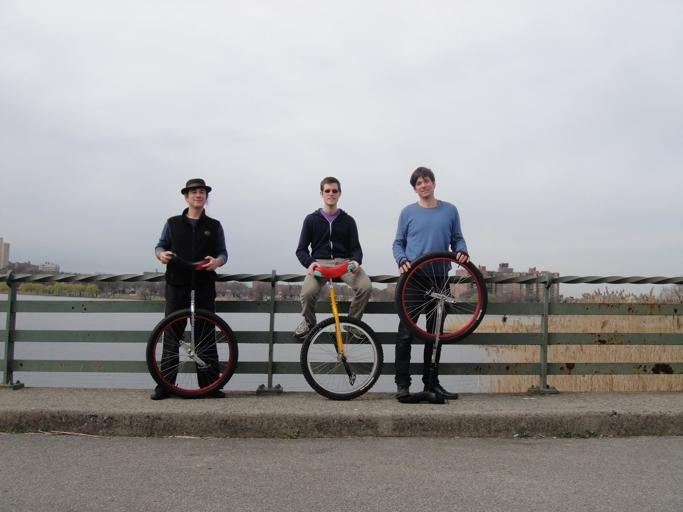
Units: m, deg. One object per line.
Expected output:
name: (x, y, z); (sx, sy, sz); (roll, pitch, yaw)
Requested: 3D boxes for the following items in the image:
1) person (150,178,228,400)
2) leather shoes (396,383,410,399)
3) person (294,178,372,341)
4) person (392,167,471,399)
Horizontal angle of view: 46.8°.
person: (-1.721, 0.311, 8.997); (0.810, 2.332, 0.780); (0, 5, -11)
leather shoes: (0.673, 1.493, 8.711); (0.145, 0.124, 0.177); (1, -1, 1)
person: (-0.164, -0.024, 9.102); (0.798, 1.903, 0.728); (3, 2, -15)
person: (0.986, 0.325, 8.845); (0.853, 2.643, 0.811); (2, -1, -7)
